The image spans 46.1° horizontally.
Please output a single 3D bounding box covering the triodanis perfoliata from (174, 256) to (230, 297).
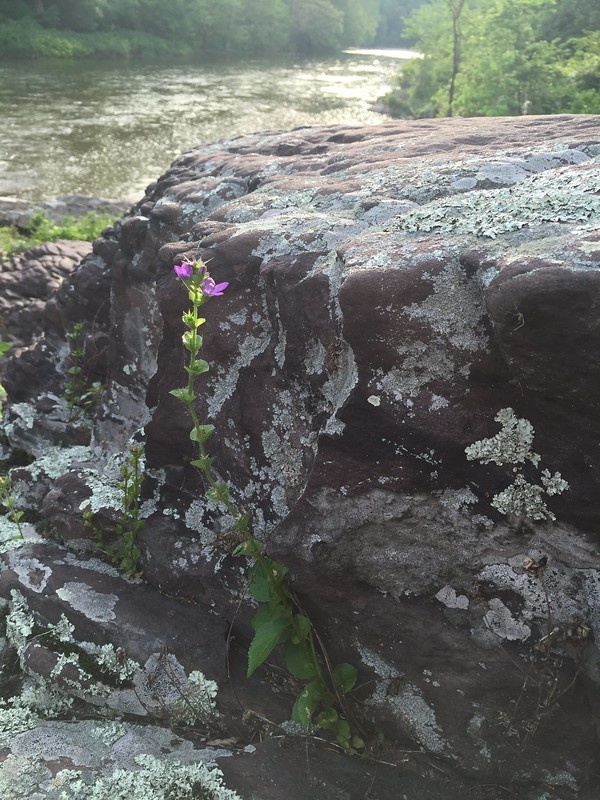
[{"bbox_3d":[-0.371,-0.448,2.606,0.160,0.149,0.253,-5,23,-7],"label":"triodanis perfoliata"}]
